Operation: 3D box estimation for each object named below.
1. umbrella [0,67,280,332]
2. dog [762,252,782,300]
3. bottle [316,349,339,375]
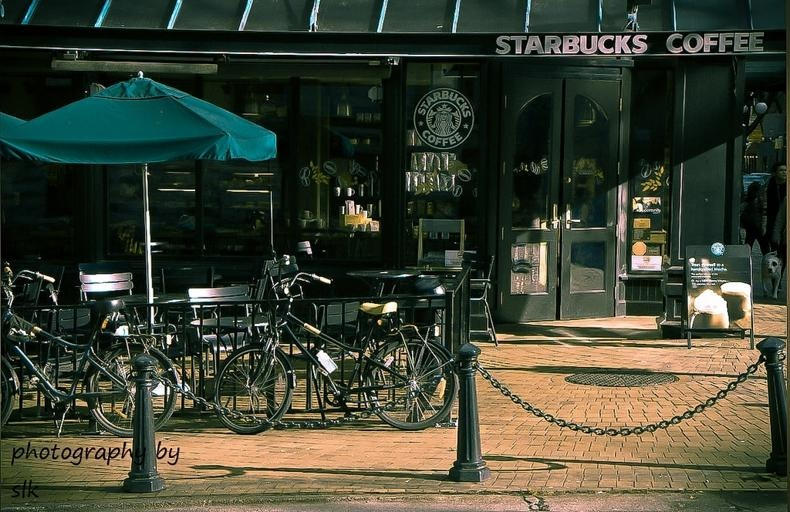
[{"bbox_3d":[-3.705,-1.120,16.962,3.344,3.303,3.750,4,12,12],"label":"umbrella"},{"bbox_3d":[7.441,0.387,22.435,0.385,0.912,0.711,-1,-1,18],"label":"dog"},{"bbox_3d":[-0.930,1.402,14.873,0.196,0.356,0.106,-39,-5,-24],"label":"bottle"}]
